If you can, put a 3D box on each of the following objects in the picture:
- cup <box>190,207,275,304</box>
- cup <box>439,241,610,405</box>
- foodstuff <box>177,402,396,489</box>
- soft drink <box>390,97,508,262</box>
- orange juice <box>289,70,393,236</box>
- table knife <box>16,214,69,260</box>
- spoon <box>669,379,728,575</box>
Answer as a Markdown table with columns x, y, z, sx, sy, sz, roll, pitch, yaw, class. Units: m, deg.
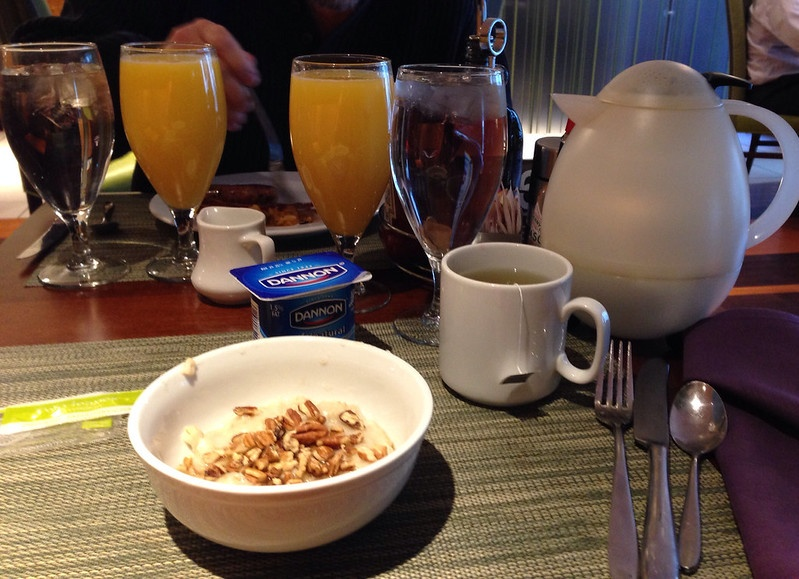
| x | y | z | sx | sy | sz | roll | pitch | yaw | class |
| --- | --- | --- | --- | --- | --- | --- | --- | --- | --- |
| -0.221 | -0.041 | 0.825 | 0.149 | 0.110 | 0.106 | 23 | 27 | 34 | cup |
| 0.158 | 0.051 | 0.639 | 0.124 | 0.134 | 0.187 | -14 | 21 | -30 | cup |
| -0.103 | 0.139 | 0.539 | 0.192 | 0.031 | 0.103 | -3 | 30 | -8 | foodstuff |
| 0.075 | -0.172 | 0.805 | 0.146 | 0.236 | 0.149 | 16 | 29 | 16 | soft drink |
| -0.077 | -0.179 | 0.803 | 0.133 | 0.221 | 0.070 | -1 | 28 | -5 | orange juice |
| -0.603 | -0.085 | 0.999 | 0.024 | 0.012 | 0.166 | 29 | 13 | -14 | table knife |
| 0.284 | 0.152 | 0.546 | 0.047 | 0.028 | 0.240 | -1 | 41 | 26 | spoon |
